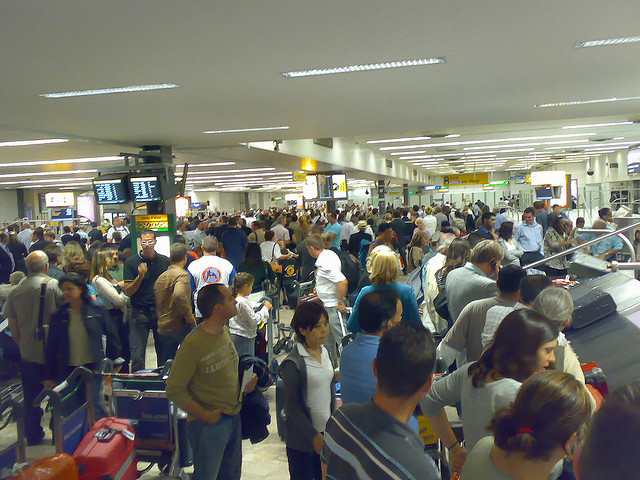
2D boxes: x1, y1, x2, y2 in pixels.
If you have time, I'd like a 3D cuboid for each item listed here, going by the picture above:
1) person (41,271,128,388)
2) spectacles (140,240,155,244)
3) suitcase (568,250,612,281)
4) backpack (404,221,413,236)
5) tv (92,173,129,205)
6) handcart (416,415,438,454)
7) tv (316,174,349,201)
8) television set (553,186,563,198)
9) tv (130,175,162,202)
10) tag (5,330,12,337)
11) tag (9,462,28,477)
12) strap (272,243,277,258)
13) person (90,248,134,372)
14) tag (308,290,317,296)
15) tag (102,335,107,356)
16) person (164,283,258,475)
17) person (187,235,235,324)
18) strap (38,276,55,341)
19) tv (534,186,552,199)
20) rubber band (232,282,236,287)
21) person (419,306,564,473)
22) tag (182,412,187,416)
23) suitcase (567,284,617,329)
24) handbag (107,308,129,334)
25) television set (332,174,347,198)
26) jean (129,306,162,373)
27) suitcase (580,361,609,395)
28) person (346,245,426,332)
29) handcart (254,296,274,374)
[{"bbox_3d":[-2.419,0.903,5.317,0.712,1.141,0.326,0,-1,-34],"label":"person"},{"bbox_3d":[-2.196,0.022,6.617,0.153,0.050,0.118,-1,0,-26],"label":"spectacles"},{"bbox_3d":[3.522,0.340,6.745,0.276,0.386,1.186,-1,0,14],"label":"suitcase"},{"bbox_3d":[2.456,-0.320,14.113,0.310,0.527,0.325,0,6,22],"label":"backpack"},{"bbox_3d":[-3.984,-0.994,9.950,0.594,0.587,0.485,-4,1,2],"label":"tv"},{"bbox_3d":[0.870,1.573,4.151,0.145,0.311,0.161,-1,-1,18],"label":"handcart"},{"bbox_3d":[0.383,-1.763,16.862,0.838,0.662,0.093,-3,5,-25],"label":"tv"},{"bbox_3d":[7.664,-1.568,16.625,0.286,0.422,0.272,-7,12,-29],"label":"television set"},{"bbox_3d":[-3.200,-0.972,9.839,0.691,0.677,0.427,1,3,6],"label":"tv"},{"bbox_3d":[-4.144,1.252,6.872,0.071,0.099,0.216,0,0,-35],"label":"tag"},{"bbox_3d":[-2.058,1.581,3.535,0.036,0.051,0.124,-3,-3,5],"label":"tag"},{"bbox_3d":[-0.791,0.192,9.040,0.032,0.269,0.035,12,-21,0],"label":"strap"},{"bbox_3d":[-2.636,0.978,6.675,0.501,1.831,0.513,3,22,-5],"label":"person"},{"bbox_3d":[-0.101,0.811,7.743,0.129,0.075,0.189,-4,-5,5],"label":"tag"},{"bbox_3d":[-2.262,1.114,5.439,0.042,0.234,0.203,0,-1,-22],"label":"tag"},{"bbox_3d":[-0.805,1.079,3.913,0.685,1.488,0.243,0,-1,-19],"label":"person"},{"bbox_3d":[-1.505,0.724,7.383,0.666,1.854,0.606,-1,31,-9],"label":"person"},{"bbox_3d":[-2.974,0.747,5.567,0.094,0.671,0.208,0,-1,0],"label":"strap"},{"bbox_3d":[7.428,-1.575,17.055,0.318,0.418,0.587,-3,2,-41],"label":"tv"},{"bbox_3d":[-0.944,0.491,5.716,0.007,0.034,0.069,0,-1,-34],"label":"rubber band"},{"bbox_3d":[1.034,0.905,3.066,0.635,1.434,0.524,-14,46,-14],"label":"person"},{"bbox_3d":[-1.217,1.575,4.618,0.027,0.010,0.044,0,0,-31],"label":"tag"},{"bbox_3d":[2.478,0.594,4.712,0.422,0.159,0.323,-19,14,-18],"label":"suitcase"},{"bbox_3d":[-2.468,0.974,6.287,0.072,0.282,0.272,-38,-35,19],"label":"handbag"},{"bbox_3d":[0.644,-1.788,16.979,0.154,0.673,0.708,2,2,39],"label":"television set"},{"bbox_3d":[-2.266,1.222,6.606,0.413,0.850,0.434,4,6,-24],"label":"jean"},{"bbox_3d":[1.960,1.004,3.679,0.169,0.197,0.309,-1,0,28],"label":"suitcase"},{"bbox_3d":[0.599,0.455,4.860,0.663,0.790,1.785,-1,0,8],"label":"person"},{"bbox_3d":[-0.749,1.329,7.308,0.147,1.103,0.332,-9,11,-37],"label":"handcart"}]
